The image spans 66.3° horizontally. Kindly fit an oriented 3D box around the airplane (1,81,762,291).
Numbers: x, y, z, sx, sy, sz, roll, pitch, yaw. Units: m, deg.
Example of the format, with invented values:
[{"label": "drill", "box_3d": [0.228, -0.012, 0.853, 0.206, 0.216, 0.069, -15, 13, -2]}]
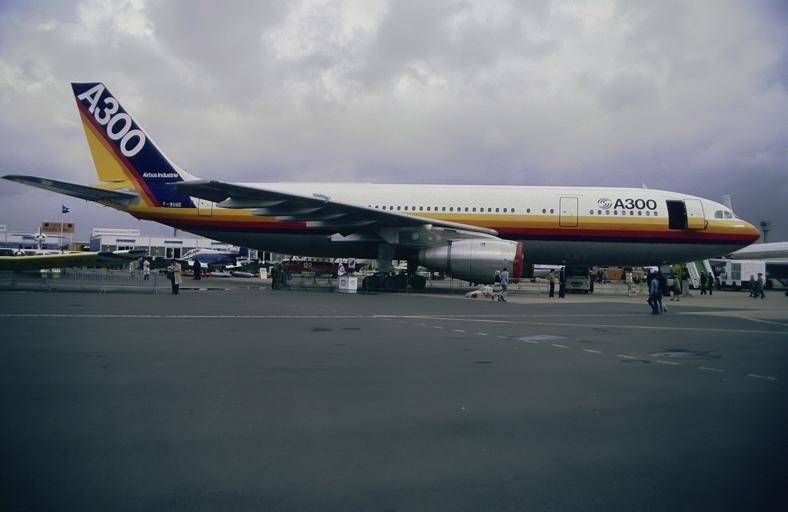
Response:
[{"label": "airplane", "box_3d": [0.214, -2.809, 23.243, 24.770, 7.660, 3.228, 0, -3, 1]}]
